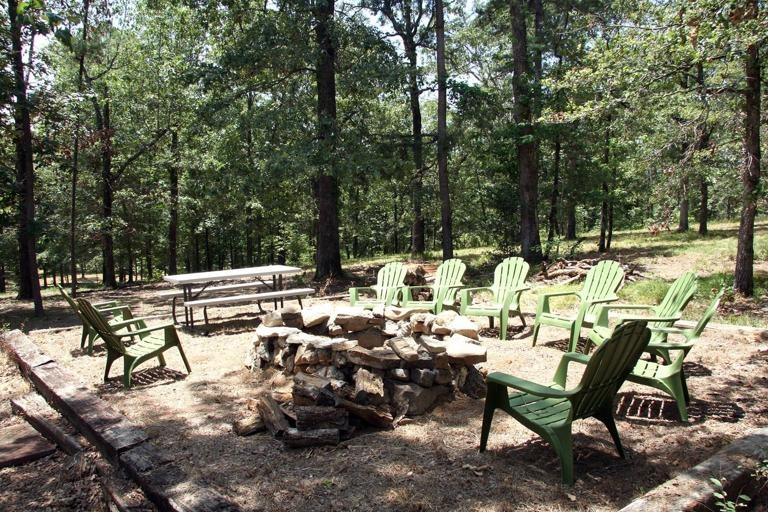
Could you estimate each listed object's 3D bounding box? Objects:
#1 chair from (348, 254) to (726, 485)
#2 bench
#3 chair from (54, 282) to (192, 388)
[{"bbox_3d":[1.774,1.356,7.803,1.969,1.045,2.779,-6,9,-28],"label":"chair"},{"bbox_3d":[-2.535,0.753,10.852,1.696,0.374,1.500,-6,9,-33],"label":"bench"},{"bbox_3d":[-3.797,1.081,8.889,1.201,1.213,1.803,-9,9,-35],"label":"chair"}]
